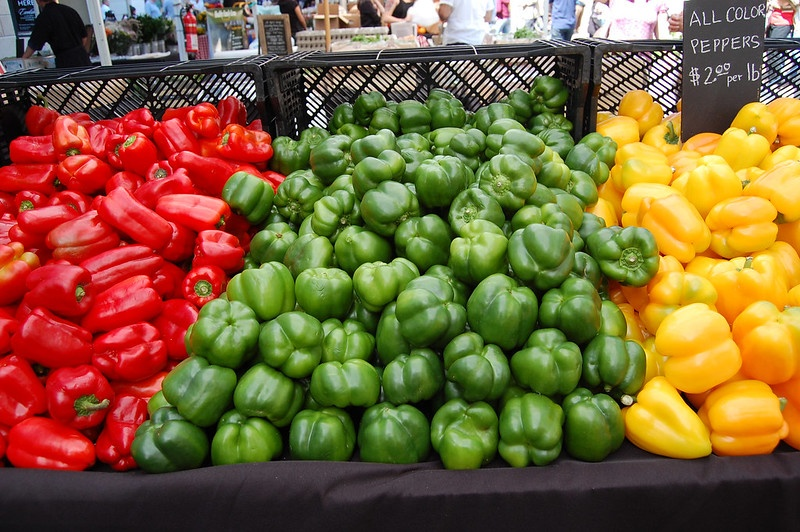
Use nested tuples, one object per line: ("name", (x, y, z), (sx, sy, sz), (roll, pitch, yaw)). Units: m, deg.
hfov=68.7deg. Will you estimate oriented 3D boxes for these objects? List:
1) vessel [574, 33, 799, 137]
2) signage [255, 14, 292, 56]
("vessel", (2.608, -1.581, 5.252), (1.633, 1.132, 0.920), (-5, 19, -9))
("signage", (-2.276, -4.130, 10.797), (0.560, 0.869, 0.489), (-4, 18, -3))
